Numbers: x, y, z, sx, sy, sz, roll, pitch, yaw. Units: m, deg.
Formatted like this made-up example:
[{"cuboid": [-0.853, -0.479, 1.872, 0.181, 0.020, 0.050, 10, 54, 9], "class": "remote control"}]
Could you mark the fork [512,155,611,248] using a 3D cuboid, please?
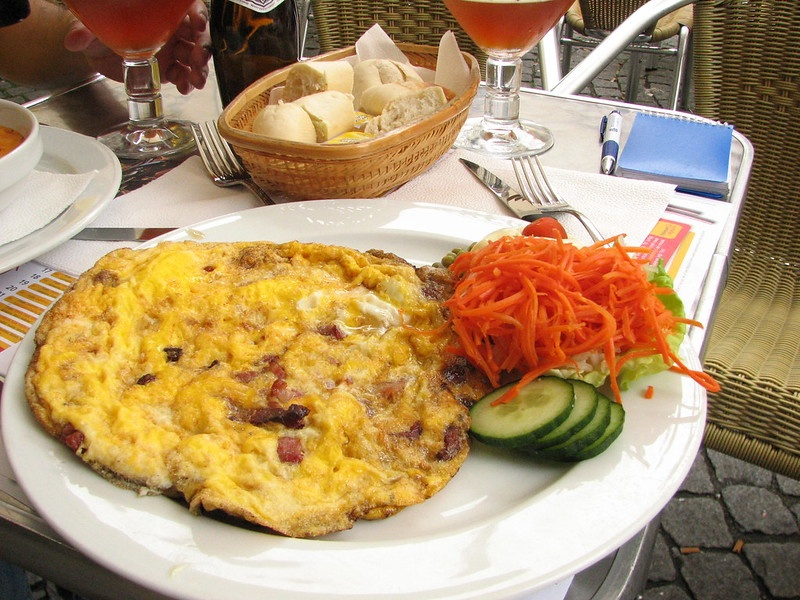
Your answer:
[{"cuboid": [0.457, -0.344, 1.995, 0.119, 0.082, 0.556, -4, 37, -21], "class": "fork"}]

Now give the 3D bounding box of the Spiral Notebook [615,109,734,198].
[{"cuboid": [0.985, -0.524, 2.185, 0.425, 0.107, 0.385, 15, 40, 27], "class": "Spiral Notebook"}]
